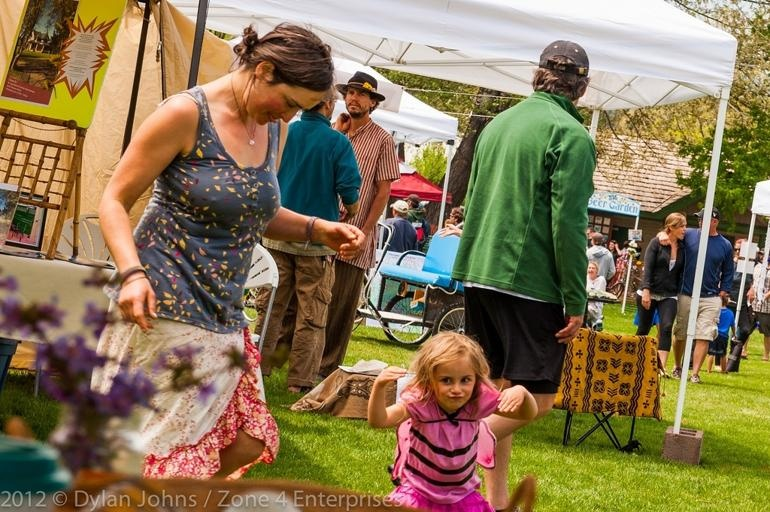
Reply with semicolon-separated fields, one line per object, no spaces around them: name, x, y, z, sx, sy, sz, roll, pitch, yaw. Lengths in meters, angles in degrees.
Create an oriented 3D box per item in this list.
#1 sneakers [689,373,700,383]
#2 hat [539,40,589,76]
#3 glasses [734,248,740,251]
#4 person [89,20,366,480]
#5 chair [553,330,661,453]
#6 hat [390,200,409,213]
sneakers;4.848;1.892;10.699;0.128;0.112;0.206;2;-4;1
hat;1.058;-1.142;3.997;0.283;0.222;0.409;11;5;14
glasses;9.135;-0.194;17.790;0.097;0.120;0.067;-2;-10;8
person;-0.636;-0.005;2.470;0.761;1.662;0.506;8;0;-22
chair;2.079;1.294;6.450;1.002;0.978;0.861;5;-7;14
hat;0.280;-0.906;13.021;0.261;0.190;0.340;-2;35;-36
